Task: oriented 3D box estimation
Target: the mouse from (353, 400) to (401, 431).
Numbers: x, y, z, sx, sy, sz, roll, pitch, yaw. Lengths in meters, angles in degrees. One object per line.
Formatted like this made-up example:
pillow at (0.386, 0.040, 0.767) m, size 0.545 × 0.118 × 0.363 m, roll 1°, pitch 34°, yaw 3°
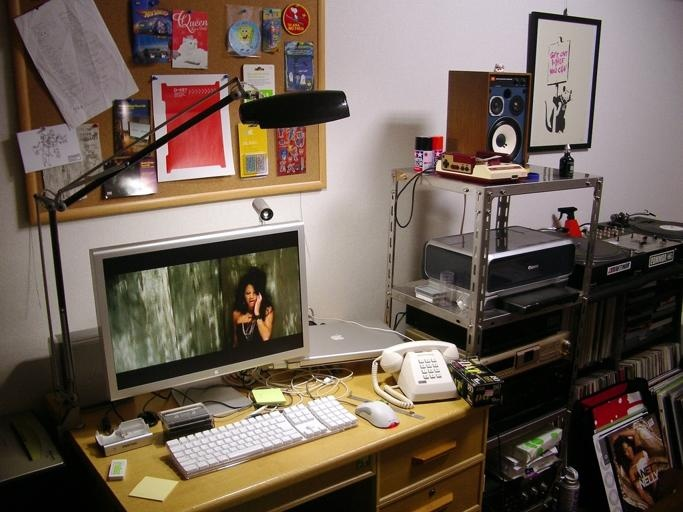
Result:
mouse at (0.122, 0.511, 1.814) m, size 0.070 × 0.039 × 0.113 m, roll -9°, pitch 20°, yaw -39°

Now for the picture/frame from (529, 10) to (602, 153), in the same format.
picture/frame at (1.152, -0.930, 2.867) m, size 0.559 × 0.775 × 0.072 m, roll -7°, pitch 15°, yaw -27°

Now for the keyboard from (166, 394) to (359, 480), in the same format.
keyboard at (-0.268, 0.557, 1.711) m, size 0.450 × 0.062 × 0.142 m, roll -14°, pitch 18°, yaw -28°

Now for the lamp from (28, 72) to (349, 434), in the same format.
lamp at (-0.503, -0.060, 1.889) m, size 1.061 × 1.016 × 0.415 m, roll -7°, pitch 17°, yaw -11°
